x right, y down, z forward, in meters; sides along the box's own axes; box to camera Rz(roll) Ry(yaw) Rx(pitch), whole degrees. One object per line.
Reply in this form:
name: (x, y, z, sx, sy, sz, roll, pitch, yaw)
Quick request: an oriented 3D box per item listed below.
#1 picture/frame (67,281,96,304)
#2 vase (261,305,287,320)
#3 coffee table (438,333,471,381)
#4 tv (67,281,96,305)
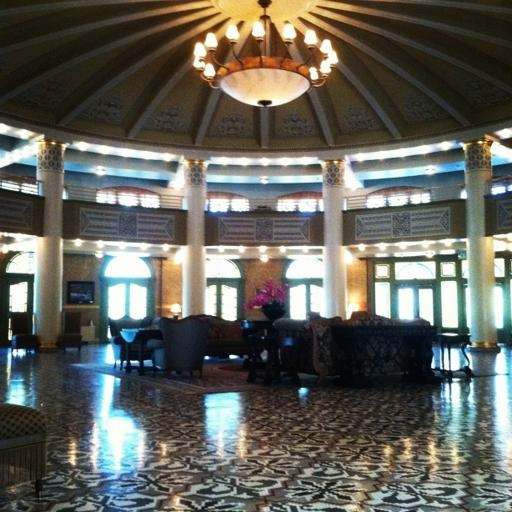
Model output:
picture/frame: (-6.339, 1.307, 18.517, 1.089, 0.753, 0.133, 1, -5, -24)
vase: (0.289, 0.951, 8.530, 0.351, 0.182, 0.299, 1, -9, 0)
coffee table: (3.335, 1.653, 8.586, 0.764, 0.578, 0.681, -1, -13, 24)
tv: (-6.347, 1.321, 18.511, 1.143, 0.818, 0.141, 2, -6, -23)
